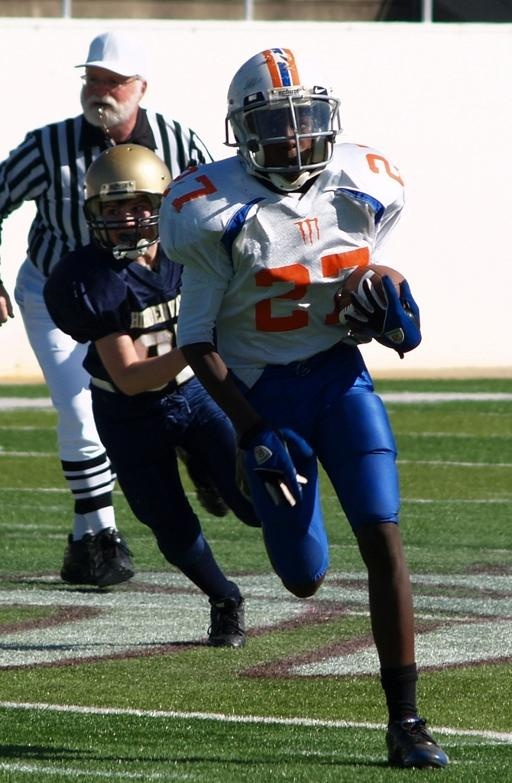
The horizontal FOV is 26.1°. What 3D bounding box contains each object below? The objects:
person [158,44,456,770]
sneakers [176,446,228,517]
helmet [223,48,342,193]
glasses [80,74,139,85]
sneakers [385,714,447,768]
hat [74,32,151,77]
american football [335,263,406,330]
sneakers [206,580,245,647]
[{"bbox_3d":[0.080,-0.064,2.241,0.510,1.265,0.872,-6,17,7],"label":"person"},{"bbox_3d":[-0.134,0.265,3.315,0.054,0.208,0.132,-38,24,-11],"label":"sneakers"},{"bbox_3d":[0.052,-0.576,2.342,0.301,0.268,0.337,-4,11,-11],"label":"helmet"},{"bbox_3d":[-0.535,-1.191,4.184,0.098,0.033,0.121,6,2,24],"label":"glasses"},{"bbox_3d":[0.281,0.635,1.975,0.094,0.066,0.115,-8,15,-7],"label":"sneakers"},{"bbox_3d":[-0.532,-1.287,4.190,0.208,0.112,0.252,11,3,24],"label":"hat"},{"bbox_3d":[0.238,-0.182,2.320,0.132,0.121,0.163,-22,-16,10],"label":"american football"},{"bbox_3d":[-0.078,0.640,3.163,0.073,0.068,0.173,-2,28,-1],"label":"sneakers"}]
